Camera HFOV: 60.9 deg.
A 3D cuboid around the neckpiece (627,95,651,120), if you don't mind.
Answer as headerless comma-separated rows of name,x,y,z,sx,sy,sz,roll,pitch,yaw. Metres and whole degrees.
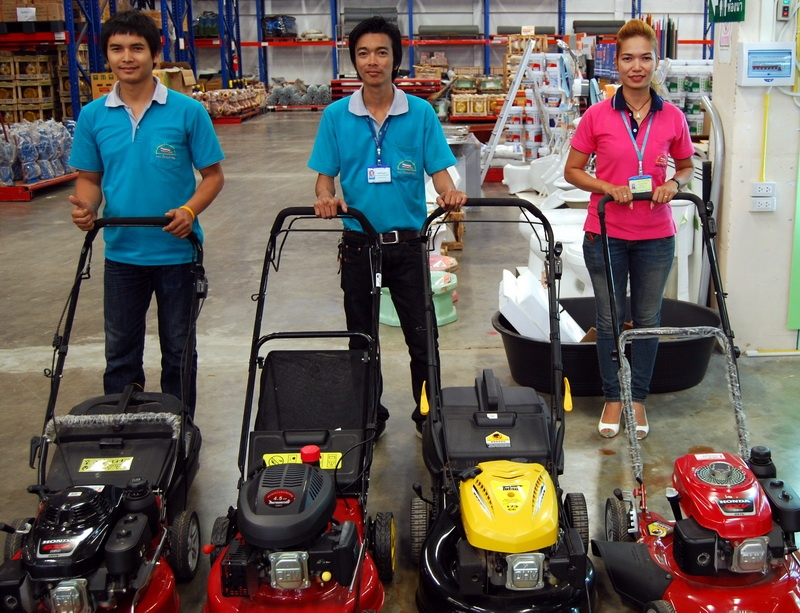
neckpiece,1.112,-0.936,3.142,0.093,0.125,0.071,-3,3,2
